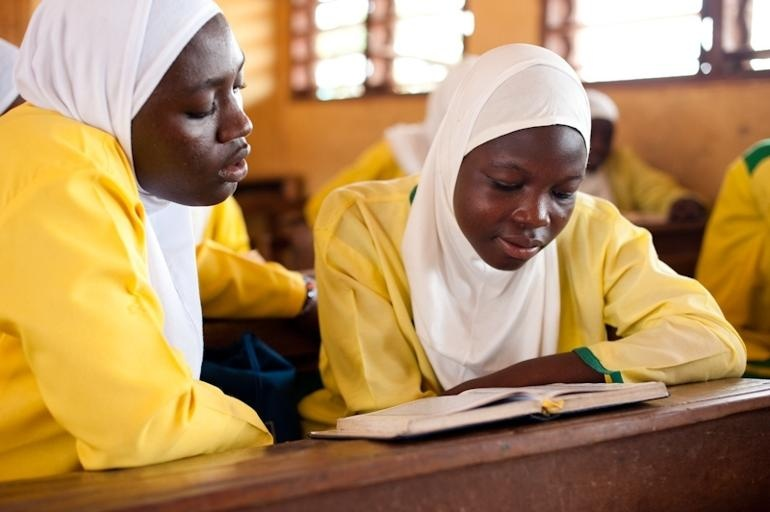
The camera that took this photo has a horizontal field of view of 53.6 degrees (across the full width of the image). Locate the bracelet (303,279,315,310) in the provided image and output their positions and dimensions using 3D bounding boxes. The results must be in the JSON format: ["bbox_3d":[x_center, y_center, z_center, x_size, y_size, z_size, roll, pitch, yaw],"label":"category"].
[{"bbox_3d":[-0.240,0.118,2.337,0.028,0.072,0.058,0,4,20],"label":"bracelet"}]

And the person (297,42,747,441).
[{"bbox_3d":[0.311,-0.041,2.047,0.883,0.867,1.051,-2,6,-30],"label":"person"}]
